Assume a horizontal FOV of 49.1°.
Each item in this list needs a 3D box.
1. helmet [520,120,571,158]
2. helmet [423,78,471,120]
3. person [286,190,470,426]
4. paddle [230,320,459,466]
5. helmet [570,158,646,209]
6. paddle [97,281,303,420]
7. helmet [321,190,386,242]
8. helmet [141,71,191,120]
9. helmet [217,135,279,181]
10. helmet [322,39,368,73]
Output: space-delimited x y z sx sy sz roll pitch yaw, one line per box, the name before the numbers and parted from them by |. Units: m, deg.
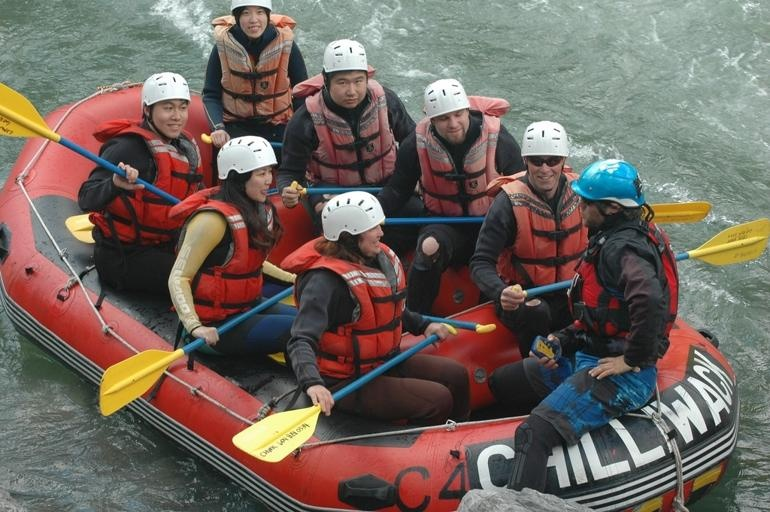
helmet | 1.147 -0.763 6.029 0.345 0.418 0.473 -1 7 11
helmet | 0.448 -1.157 6.301 0.253 0.322 0.253 -4 18 0
person | -0.018 0.413 5.695 0.839 1.274 1.267 2 25 22
paddle | -0.034 0.908 5.605 2.078 0.113 0.429 -29 42 -21
helmet | 1.435 -0.496 5.338 0.475 0.235 0.355 20 39 19
paddle | -1.406 0.656 6.250 0.097 0.371 2.076 20 20 16
helmet | -0.209 -0.267 5.509 0.426 0.293 0.343 -3 16 11
helmet | -1.664 -1.216 6.307 0.297 0.348 0.324 9 16 -27
helmet | -0.978 -0.680 5.887 0.452 0.285 0.341 3 15 25
helmet | -0.337 -1.587 6.804 0.246 0.322 0.258 -2 84 -14
